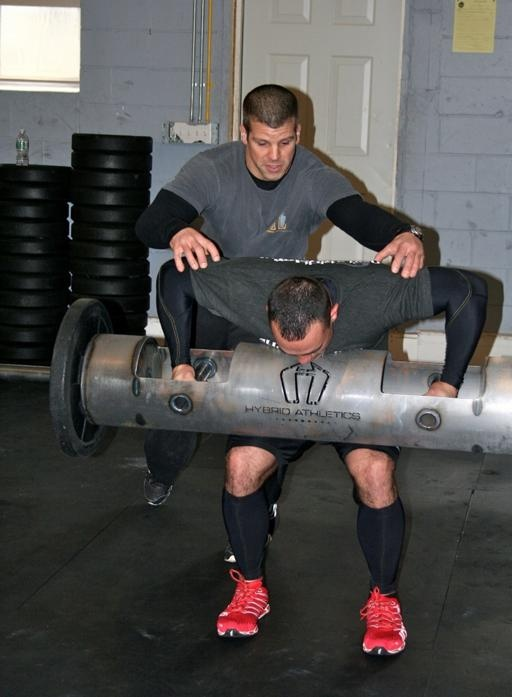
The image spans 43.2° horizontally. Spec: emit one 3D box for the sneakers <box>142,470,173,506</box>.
[{"bbox_3d":[-0.374,0.521,2.374,0.090,0.150,0.060,0,-4,-4],"label":"sneakers"}]

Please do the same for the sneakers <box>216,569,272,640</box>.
[{"bbox_3d":[-0.017,0.618,1.555,0.073,0.101,0.176,-4,-11,17],"label":"sneakers"}]

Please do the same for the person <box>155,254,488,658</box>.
[{"bbox_3d":[0.143,0.296,1.614,0.860,0.947,0.604,1,43,10],"label":"person"}]

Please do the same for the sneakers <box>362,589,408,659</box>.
[{"bbox_3d":[0.287,0.607,1.443,0.094,0.136,0.101,2,5,15],"label":"sneakers"}]

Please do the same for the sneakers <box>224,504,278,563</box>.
[{"bbox_3d":[-0.023,0.542,1.813,0.099,0.131,0.313,1,8,9],"label":"sneakers"}]

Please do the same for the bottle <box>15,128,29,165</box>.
[{"bbox_3d":[-1.661,-1.437,4.583,0.099,0.264,0.223,-1,5,-20],"label":"bottle"}]
